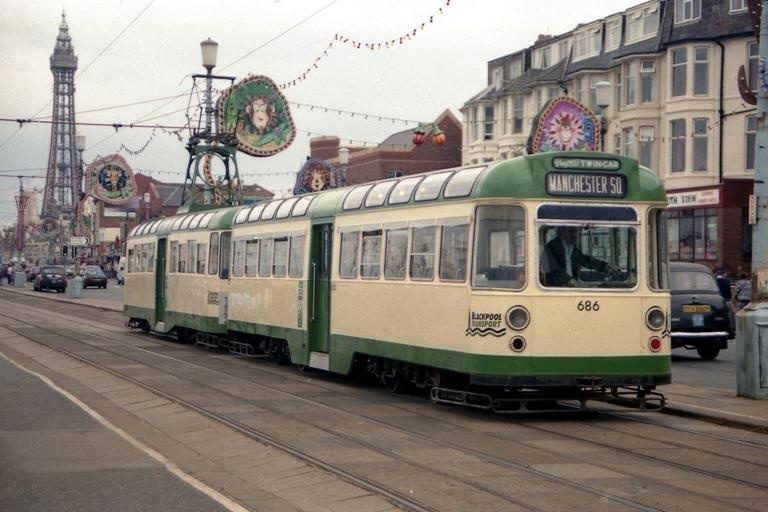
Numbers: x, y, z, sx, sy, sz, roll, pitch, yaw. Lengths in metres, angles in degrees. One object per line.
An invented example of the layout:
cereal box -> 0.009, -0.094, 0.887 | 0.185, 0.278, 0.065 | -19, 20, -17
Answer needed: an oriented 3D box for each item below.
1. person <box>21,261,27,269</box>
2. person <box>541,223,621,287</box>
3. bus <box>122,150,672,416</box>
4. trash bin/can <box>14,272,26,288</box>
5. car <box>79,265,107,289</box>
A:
person -> -42.558, 1.152, 105.279 | 0.896, 1.024, 0.704 | 0, 0, 38
person -> 3.123, 0.049, 14.525 | 1.300, 1.073, 0.849 | 3, 3, 21
bus -> -0.349, 0.626, 23.432 | 3.751, 4.188, 19.745 | 3, -3, -22
trash bin/can -> -29.050, 1.918, 71.034 | 0.826, 1.591, 1.118 | 3, 2, -15
car -> -20.766, 1.552, 63.385 | 1.411, 1.028, 3.056 | -1, 5, -20
